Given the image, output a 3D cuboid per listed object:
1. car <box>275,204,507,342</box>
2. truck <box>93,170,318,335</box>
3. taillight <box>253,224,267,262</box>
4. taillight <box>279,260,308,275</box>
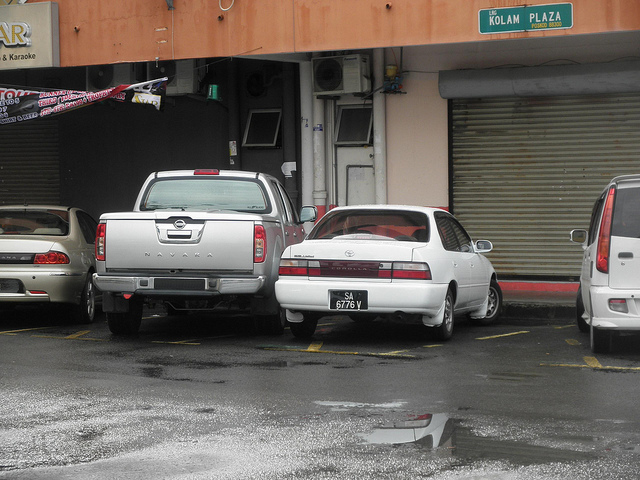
[{"bbox_3d":[1.191,0.369,11.114,1.882,1.051,2.824,0,4,17],"label":"car"},{"bbox_3d":[-1.725,-0.013,12.594,2.702,2.041,4.838,1,6,6],"label":"truck"},{"bbox_3d":[-0.815,0.044,10.265,0.185,0.503,0.051,-5,6,-25],"label":"taillight"},{"bbox_3d":[-0.365,0.357,10.206,0.410,0.185,0.061,1,7,26],"label":"taillight"}]
